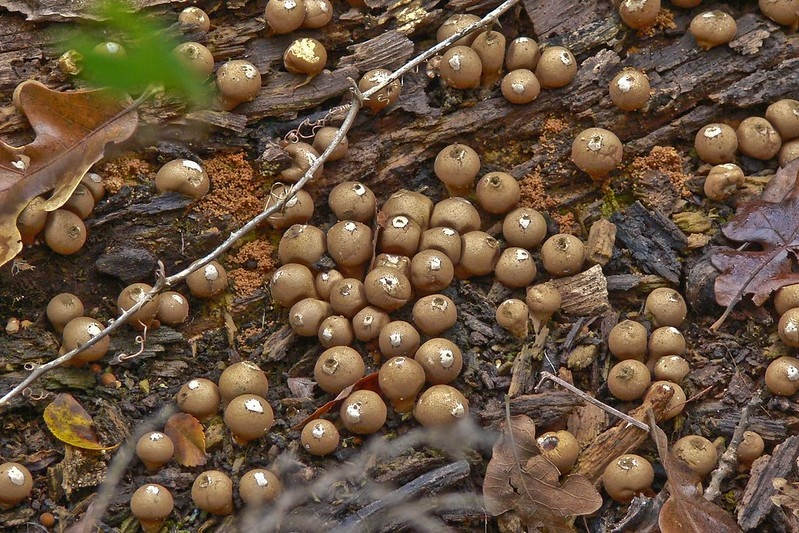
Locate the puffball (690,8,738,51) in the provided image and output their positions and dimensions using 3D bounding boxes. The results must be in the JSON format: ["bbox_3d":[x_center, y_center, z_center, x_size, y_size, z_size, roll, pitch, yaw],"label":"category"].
[{"bbox_3d":[2.571,-1.928,6.937,0.391,0.223,0.231,-11,61,-1],"label":"puffball"}]

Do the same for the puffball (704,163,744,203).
[{"bbox_3d":[2.608,-0.671,6.856,0.269,0.236,0.255,28,67,19],"label":"puffball"}]

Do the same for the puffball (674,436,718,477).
[{"bbox_3d":[2.139,1.371,6.294,0.297,0.303,0.303,-6,64,0],"label":"puffball"}]
